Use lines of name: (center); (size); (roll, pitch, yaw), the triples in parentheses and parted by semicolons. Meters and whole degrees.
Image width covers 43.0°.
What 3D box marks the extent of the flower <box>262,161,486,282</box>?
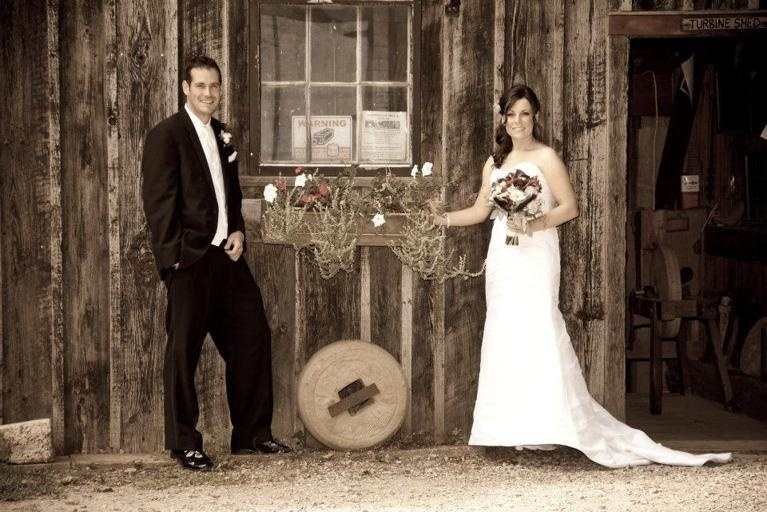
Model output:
flower: (-0.231, -0.262, 7.970); (1.399, 1.045, 0.524); (-11, -3, 0)

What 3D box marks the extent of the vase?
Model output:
vase: (-0.309, -0.221, 8.212); (1.809, 0.297, 0.407); (1, -1, -1)

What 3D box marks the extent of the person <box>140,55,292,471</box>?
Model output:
person: (-1.402, 0.073, 7.804); (0.951, 3.210, 0.744); (-4, 14, -17)

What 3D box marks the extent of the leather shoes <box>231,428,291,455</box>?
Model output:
leather shoes: (-1.011, 1.535, 8.128); (0.566, 0.286, 0.202); (-2, -3, -2)

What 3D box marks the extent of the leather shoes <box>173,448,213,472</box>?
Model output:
leather shoes: (-1.501, 1.618, 7.817); (0.345, 0.167, 0.154); (15, 7, 11)

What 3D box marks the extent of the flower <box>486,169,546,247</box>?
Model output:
flower: (1.046, -0.330, 7.920); (0.496, 0.582, 0.516); (11, -9, -29)
